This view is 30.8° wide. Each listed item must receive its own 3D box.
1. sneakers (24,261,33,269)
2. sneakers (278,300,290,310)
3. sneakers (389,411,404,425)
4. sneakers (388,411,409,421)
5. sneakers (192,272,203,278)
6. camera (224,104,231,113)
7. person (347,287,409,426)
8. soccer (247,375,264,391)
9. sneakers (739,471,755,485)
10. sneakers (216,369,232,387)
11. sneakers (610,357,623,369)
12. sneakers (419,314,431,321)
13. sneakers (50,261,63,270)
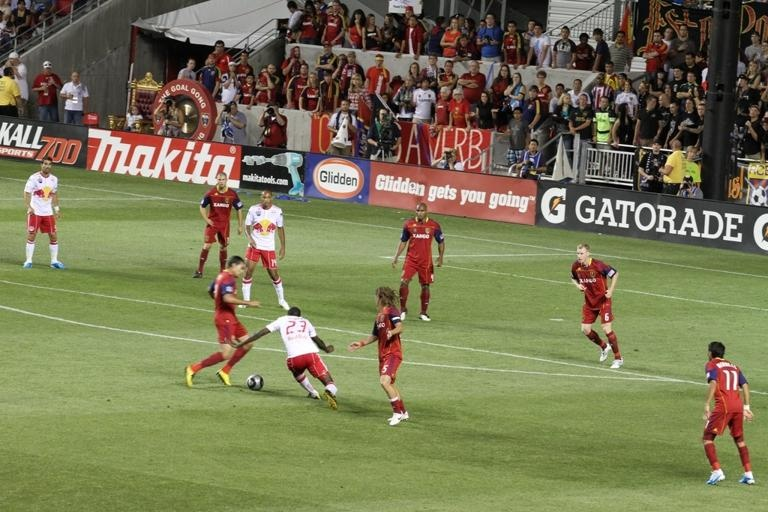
[{"bbox_3d":[-9.904,0.223,38.672,0.223,0.202,0.510,0,0,-19],"label":"sneakers"},{"bbox_3d":[-2.610,1.240,36.359,0.174,0.196,0.492,-16,17,-29],"label":"sneakers"},{"bbox_3d":[0.218,3.380,29.310,0.167,0.176,0.430,-7,13,46],"label":"sneakers"},{"bbox_3d":[0.284,3.359,29.384,0.462,0.184,0.173,-11,11,-36],"label":"sneakers"},{"bbox_3d":[-5.239,0.500,38.787,0.152,0.224,0.240,1,6,22],"label":"sneakers"},{"bbox_3d":[-6.095,-5.723,53.918,0.289,0.212,0.297,-30,0,22],"label":"camera"},{"bbox_3d":[0.016,2.077,29.368,1.035,2.193,0.592,6,2,22],"label":"person"},{"bbox_3d":[-2.826,2.727,30.443,0.358,0.326,0.339,18,-18,1],"label":"soccer"},{"bbox_3d":[7.204,4.388,27.773,0.156,0.171,0.408,-1,10,7],"label":"sneakers"},{"bbox_3d":[-3.568,2.632,30.676,0.224,0.474,0.189,-29,18,13],"label":"sneakers"},{"bbox_3d":[5.535,2.549,33.463,0.280,0.182,0.353,5,2,9],"label":"sneakers"},{"bbox_3d":[1.007,1.575,36.258,0.146,0.096,0.257,-5,7,-27],"label":"sneakers"},{"bbox_3d":[-9.120,0.239,38.838,0.377,0.133,0.172,6,12,17],"label":"sneakers"}]
